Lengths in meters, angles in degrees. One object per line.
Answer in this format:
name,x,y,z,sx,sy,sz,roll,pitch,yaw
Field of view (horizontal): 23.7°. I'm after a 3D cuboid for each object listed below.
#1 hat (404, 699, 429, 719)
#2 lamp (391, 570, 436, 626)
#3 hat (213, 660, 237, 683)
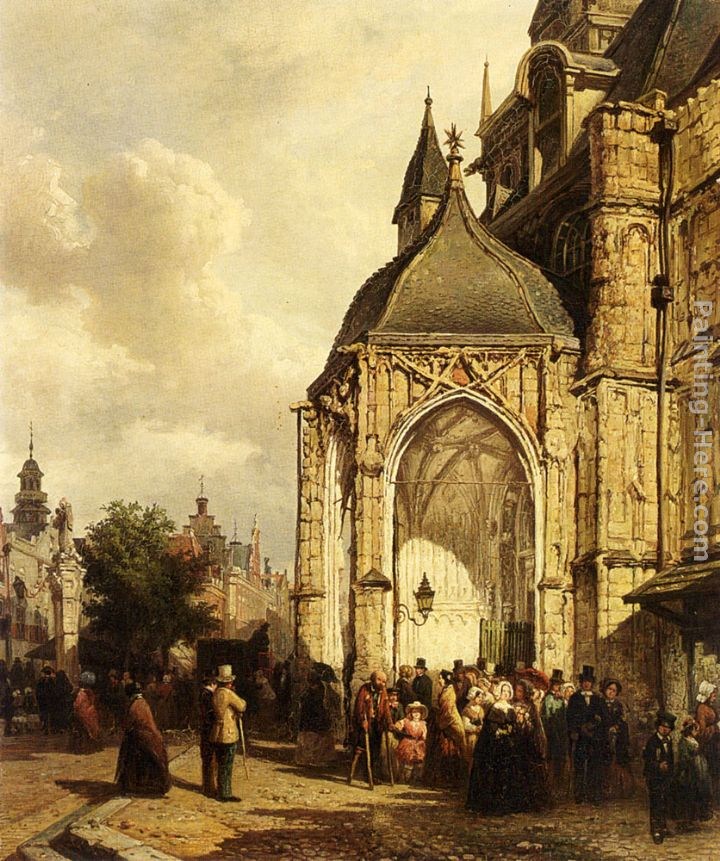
hat,0.759,3.940,24.012,0.295,0.124,0.354,-1,-52,-6
lamp,0.926,2.924,29.529,0.677,1.141,0.361,-7,26,-5
hat,-1.725,3.046,21.731,0.330,0.247,0.449,-4,-15,-15
